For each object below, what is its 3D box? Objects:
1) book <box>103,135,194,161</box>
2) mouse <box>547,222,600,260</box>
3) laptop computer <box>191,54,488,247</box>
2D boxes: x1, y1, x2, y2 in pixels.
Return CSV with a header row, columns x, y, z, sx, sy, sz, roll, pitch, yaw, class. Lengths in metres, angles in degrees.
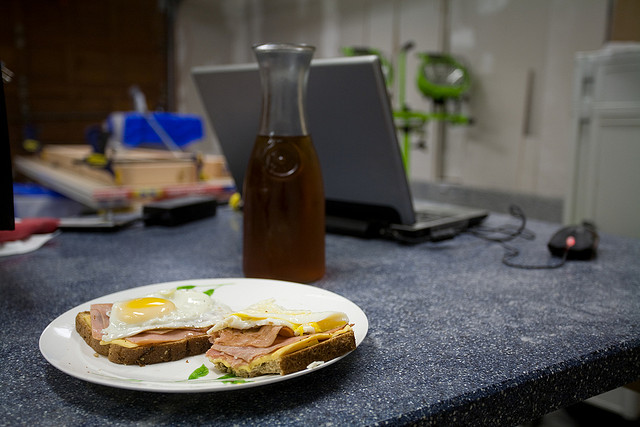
x,y,z,sx,sy,sz,roll,pitch,yaw,class
-0.494,-0.187,1.320,0.214,0.063,0.360,-10,16,-28,book
0.520,0.046,0.953,0.080,0.046,0.143,11,21,39,mouse
0.063,-0.139,1.064,0.546,0.388,0.424,-11,17,-29,laptop computer
